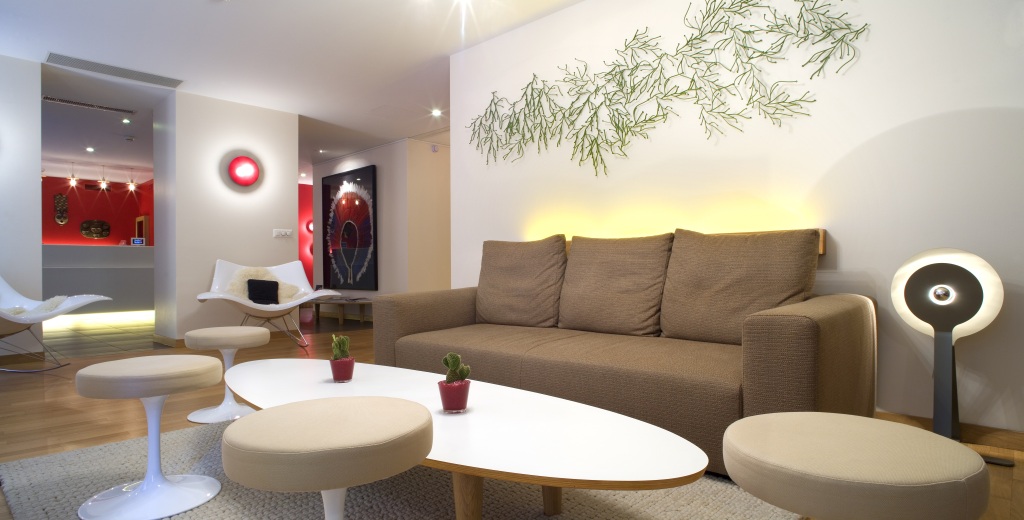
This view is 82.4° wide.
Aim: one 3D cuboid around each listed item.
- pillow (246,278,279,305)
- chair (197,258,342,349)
[{"bbox_3d":[-3.208,0.409,7.557,0.388,0.318,0.141,8,-10,-9],"label":"pillow"},{"bbox_3d":[-3.341,0.430,7.813,1.669,1.110,1.381,10,-16,-34],"label":"chair"}]
